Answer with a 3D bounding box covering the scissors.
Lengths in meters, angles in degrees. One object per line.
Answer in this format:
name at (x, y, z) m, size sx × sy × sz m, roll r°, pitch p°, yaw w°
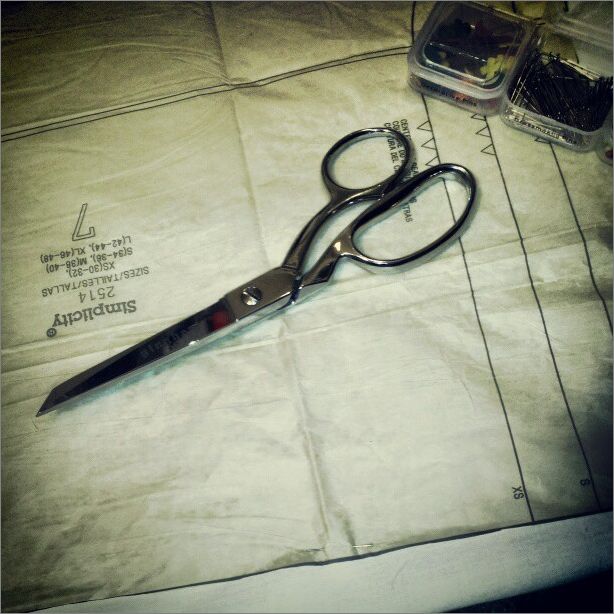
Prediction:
scissors at (0.007, -0.020, 0.831) m, size 0.598 × 0.045 × 0.205 m, roll -27°, pitch 65°, yaw -5°
